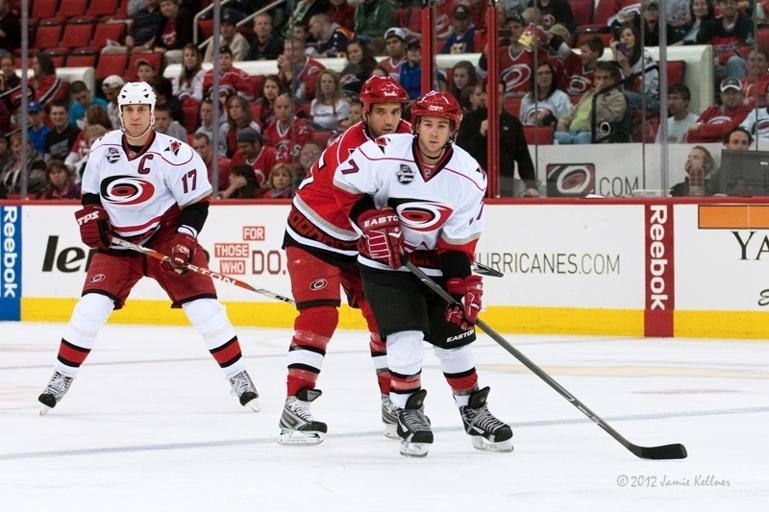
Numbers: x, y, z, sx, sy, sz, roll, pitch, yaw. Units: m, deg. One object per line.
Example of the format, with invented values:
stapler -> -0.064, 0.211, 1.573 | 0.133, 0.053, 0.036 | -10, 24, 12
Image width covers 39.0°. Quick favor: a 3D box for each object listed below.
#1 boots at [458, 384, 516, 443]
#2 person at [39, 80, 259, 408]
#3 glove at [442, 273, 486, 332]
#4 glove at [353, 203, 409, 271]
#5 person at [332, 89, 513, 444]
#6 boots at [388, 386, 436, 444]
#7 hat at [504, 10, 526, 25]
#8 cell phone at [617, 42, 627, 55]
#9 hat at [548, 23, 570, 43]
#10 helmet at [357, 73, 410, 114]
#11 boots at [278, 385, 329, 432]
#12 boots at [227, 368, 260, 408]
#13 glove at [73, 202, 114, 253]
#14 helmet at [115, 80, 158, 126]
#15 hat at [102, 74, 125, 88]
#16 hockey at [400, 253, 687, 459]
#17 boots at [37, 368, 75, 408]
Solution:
boots -> 0.536, 0.871, 5.777 | 0.155, 0.338, 0.375 | -21, 12, -31
person -> -1.461, -0.109, 6.639 | 1.216, 1.905, 0.571 | -2, 9, -6
glove -> 0.420, 0.240, 5.692 | 0.192, 0.288, 0.205 | 0, 8, 7
glove -> 0.004, -0.116, 5.852 | 0.307, 0.425, 0.317 | -14, 4, -3
person -> 0.219, 0.086, 5.690 | 0.885, 1.889, 0.394 | -1, 9, -3
boots -> 0.146, 0.872, 5.777 | 0.136, 0.243, 0.411 | 7, 4, -22
hat -> 1.083, -1.994, 8.997 | 0.093, 0.070, 0.139 | -3, -18, 28
cell phone -> 1.929, -1.701, 8.794 | 0.078, 0.085, 0.019 | 1, 9, 12
hat -> 1.472, -1.864, 8.985 | 0.174, 0.128, 0.067 | 30, -4, 30
helmet -> 0.014, -0.887, 6.087 | 0.272, 0.263, 0.287 | -2, 17, -7
boots -> -0.415, 0.857, 5.899 | 0.135, 0.268, 0.408 | 2, -3, -36
boots -> -0.840, 0.817, 6.664 | 0.137, 0.111, 0.311 | 32, 17, -36
glove -> -1.728, -0.196, 6.724 | 0.246, 0.130, 0.313 | 12, 53, 17
helmet -> -1.533, -0.955, 6.761 | 0.211, 0.274, 0.215 | -3, 8, -14
hat -> -2.709, -1.783, 10.988 | 0.154, 0.107, 0.204 | 0, 2, 0
hockey -> 0.859, 0.741, 5.380 | 1.601, 0.200, 0.128 | 18, 14, -18
boots -> -1.982, 0.804, 6.596 | 0.107, 0.131, 0.324 | 46, 3, -15
